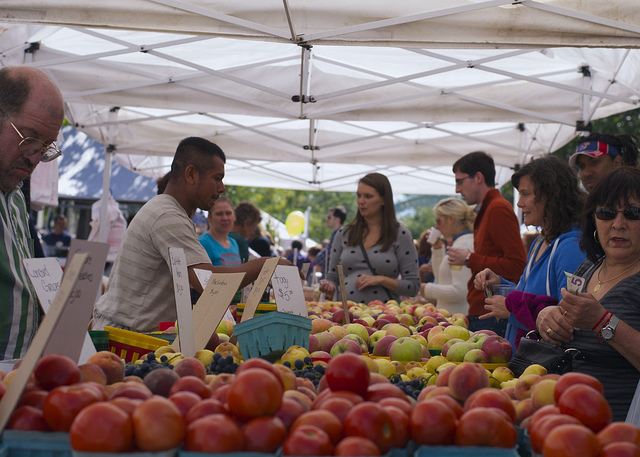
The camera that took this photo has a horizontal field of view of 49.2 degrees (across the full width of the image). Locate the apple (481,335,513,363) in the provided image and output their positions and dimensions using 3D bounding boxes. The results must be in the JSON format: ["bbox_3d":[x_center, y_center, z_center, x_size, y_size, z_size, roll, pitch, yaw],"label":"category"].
[{"bbox_3d":[1.295,0.885,5.147,0.236,0.191,0.236,3,-6,11],"label":"apple"}]

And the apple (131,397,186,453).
[{"bbox_3d":[-0.814,0.968,3.527,0.222,0.253,0.275,-3,37,-35],"label":"apple"}]

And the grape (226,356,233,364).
[{"bbox_3d":[-0.575,0.833,4.440,0.036,0.047,0.038,3,14,12],"label":"grape"}]

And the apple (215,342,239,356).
[{"bbox_3d":[-0.657,0.813,4.897,0.098,0.123,0.096,15,16,42],"label":"apple"}]

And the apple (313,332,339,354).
[{"bbox_3d":[0.047,0.825,5.078,0.125,0.139,0.128,0,-12,-5],"label":"apple"}]

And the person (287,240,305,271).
[{"bbox_3d":[-0.624,0.622,17.537,0.380,0.662,1.512,5,-6,-3],"label":"person"}]

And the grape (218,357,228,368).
[{"bbox_3d":[-0.626,0.847,4.436,0.041,0.058,0.031,-10,-22,-12],"label":"grape"}]

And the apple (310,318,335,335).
[{"bbox_3d":[0.011,0.753,5.476,0.115,0.124,0.120,6,11,0],"label":"apple"}]

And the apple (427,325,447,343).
[{"bbox_3d":[0.930,0.840,5.641,0.104,0.128,0.113,16,-30,-5],"label":"apple"}]

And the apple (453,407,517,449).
[{"bbox_3d":[0.831,1.020,3.545,0.209,0.221,0.210,7,15,7],"label":"apple"}]

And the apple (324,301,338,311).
[{"bbox_3d":[0.103,0.828,7.509,0.071,0.070,0.068,-5,-19,-16],"label":"apple"}]

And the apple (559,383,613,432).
[{"bbox_3d":[1.379,0.917,3.706,0.189,0.145,0.250,-34,62,-31],"label":"apple"}]

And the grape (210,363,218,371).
[{"bbox_3d":[-0.685,0.884,4.484,0.040,0.047,0.054,7,-6,-22],"label":"grape"}]

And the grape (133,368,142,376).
[{"bbox_3d":[-1.128,0.885,4.325,0.036,0.039,0.038,-1,-22,-14],"label":"grape"}]

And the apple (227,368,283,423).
[{"bbox_3d":[-0.345,0.845,3.630,0.247,0.266,0.256,8,39,-13],"label":"apple"}]

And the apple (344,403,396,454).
[{"bbox_3d":[0.264,0.990,3.536,0.222,0.250,0.239,-10,18,34],"label":"apple"}]

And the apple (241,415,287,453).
[{"bbox_3d":[-0.294,1.034,3.530,0.199,0.208,0.163,1,11,2],"label":"apple"}]

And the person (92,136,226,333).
[{"bbox_3d":[-1.258,0.021,5.663,0.942,1.638,0.618,6,-5,-18],"label":"person"}]

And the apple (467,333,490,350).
[{"bbox_3d":[1.183,0.845,5.267,0.098,0.107,0.100,-5,-3,-19],"label":"apple"}]

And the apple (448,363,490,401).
[{"bbox_3d":[0.830,0.854,3.994,0.194,0.213,0.197,-9,-1,-1],"label":"apple"}]

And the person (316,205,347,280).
[{"bbox_3d":[0.139,0.444,13.462,0.632,1.647,0.531,7,-1,-4],"label":"person"}]

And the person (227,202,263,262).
[{"bbox_3d":[-1.137,0.062,10.341,0.420,1.238,0.455,-10,25,-35],"label":"person"}]

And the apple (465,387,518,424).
[{"bbox_3d":[0.917,0.917,3.747,0.201,0.220,0.210,-3,41,9],"label":"apple"}]

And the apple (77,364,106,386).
[{"bbox_3d":[-1.316,0.830,4.081,0.119,0.164,0.133,-7,-3,-3],"label":"apple"}]

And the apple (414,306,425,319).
[{"bbox_3d":[1.024,0.868,7.302,0.089,0.118,0.094,2,-15,-2],"label":"apple"}]

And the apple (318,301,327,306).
[{"bbox_3d":[0.017,0.863,8.042,0.107,0.066,0.112,-1,-4,22],"label":"apple"}]

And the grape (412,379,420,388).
[{"bbox_3d":[0.599,0.981,4.442,0.041,0.047,0.073,-1,-8,45],"label":"grape"}]

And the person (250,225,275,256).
[{"bbox_3d":[-1.162,0.252,14.151,0.471,0.708,0.910,-2,9,-6],"label":"person"}]

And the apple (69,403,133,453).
[{"bbox_3d":[-1.081,0.993,3.470,0.233,0.242,0.229,5,5,8],"label":"apple"}]

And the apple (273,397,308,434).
[{"bbox_3d":[-0.155,0.968,3.691,0.147,0.195,0.154,2,5,3],"label":"apple"}]

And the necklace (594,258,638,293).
[{"bbox_3d":[2.108,0.356,5.185,0.015,0.216,0.123,36,11,-27],"label":"necklace"}]

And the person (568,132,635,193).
[{"bbox_3d":[2.567,-0.661,6.568,0.706,0.374,0.487,-10,-12,-40],"label":"person"}]

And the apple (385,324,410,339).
[{"bbox_3d":[0.605,0.796,5.485,0.109,0.118,0.108,0,1,1],"label":"apple"}]

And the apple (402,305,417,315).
[{"bbox_3d":[0.922,0.833,7.277,0.106,0.148,0.116,1,1,4],"label":"apple"}]

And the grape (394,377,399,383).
[{"bbox_3d":[0.470,0.940,4.351,0.028,0.025,0.083,4,-6,5],"label":"grape"}]

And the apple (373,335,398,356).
[{"bbox_3d":[0.482,0.887,5.310,0.137,0.173,0.142,22,-7,8],"label":"apple"}]

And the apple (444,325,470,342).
[{"bbox_3d":[1.085,0.825,5.624,0.125,0.128,0.127,-7,-1,-35],"label":"apple"}]

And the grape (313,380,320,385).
[{"bbox_3d":[-0.029,0.933,4.260,0.035,0.025,0.053,4,-6,4],"label":"grape"}]

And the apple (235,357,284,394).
[{"bbox_3d":[-0.337,0.796,3.837,0.161,0.169,0.173,2,-22,-2],"label":"apple"}]

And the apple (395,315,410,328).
[{"bbox_3d":[0.742,0.843,6.407,0.108,0.122,0.111,1,-4,-14],"label":"apple"}]

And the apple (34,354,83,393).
[{"bbox_3d":[-1.497,0.794,3.943,0.215,0.222,0.202,-7,14,-27],"label":"apple"}]

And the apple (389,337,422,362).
[{"bbox_3d":[0.615,0.863,5.133,0.171,0.188,0.171,-10,-1,-21],"label":"apple"}]

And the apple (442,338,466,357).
[{"bbox_3d":[0.992,0.882,5.226,0.123,0.157,0.124,16,-24,2],"label":"apple"}]

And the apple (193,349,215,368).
[{"bbox_3d":[-0.789,0.879,4.749,0.092,0.108,0.107,3,-3,-16],"label":"apple"}]

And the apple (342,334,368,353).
[{"bbox_3d":[0.268,0.849,5.277,0.140,0.155,0.138,2,0,-7],"label":"apple"}]

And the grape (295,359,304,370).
[{"bbox_3d":[-0.139,0.858,4.430,0.045,0.059,0.047,3,9,14],"label":"grape"}]

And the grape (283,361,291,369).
[{"bbox_3d":[-0.217,0.866,4.468,0.031,0.037,0.032,-32,-8,4],"label":"grape"}]

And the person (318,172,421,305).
[{"bbox_3d":[0.662,0.101,7.697,0.873,1.465,0.405,4,-5,8],"label":"person"}]

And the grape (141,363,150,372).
[{"bbox_3d":[-1.094,0.865,4.371,0.035,0.042,0.039,1,4,6],"label":"grape"}]

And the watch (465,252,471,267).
[{"bbox_3d":[1.512,0.313,7.225,0.053,0.126,0.046,2,-5,20],"label":"watch"}]

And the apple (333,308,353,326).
[{"bbox_3d":[0.192,0.785,6.199,0.112,0.124,0.120,1,-1,-6],"label":"apple"}]

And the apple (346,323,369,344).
[{"bbox_3d":[0.288,0.844,5.612,0.135,0.172,0.143,2,-14,-5],"label":"apple"}]
